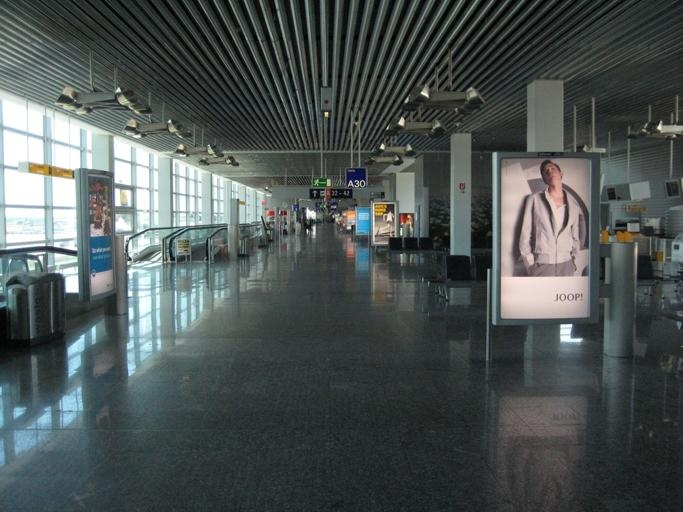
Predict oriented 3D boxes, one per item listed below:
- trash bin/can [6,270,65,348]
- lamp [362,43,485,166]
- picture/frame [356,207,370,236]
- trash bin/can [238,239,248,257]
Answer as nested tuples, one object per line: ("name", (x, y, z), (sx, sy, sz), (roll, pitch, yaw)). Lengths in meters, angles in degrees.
("trash bin/can", (-3.776, 0.631, 6.789), (0.643, 0.799, 0.438), (-8, 14, -33))
("lamp", (1.660, -2.658, 9.928), (1.016, 1.006, 3.333), (8, -6, -6))
("picture/frame", (1.008, -1.630, 25.863), (0.600, 1.349, 0.681), (-1, 12, -4))
("trash bin/can", (-3.315, -0.299, 18.741), (0.304, 0.519, 0.663), (-3, 12, -11))
